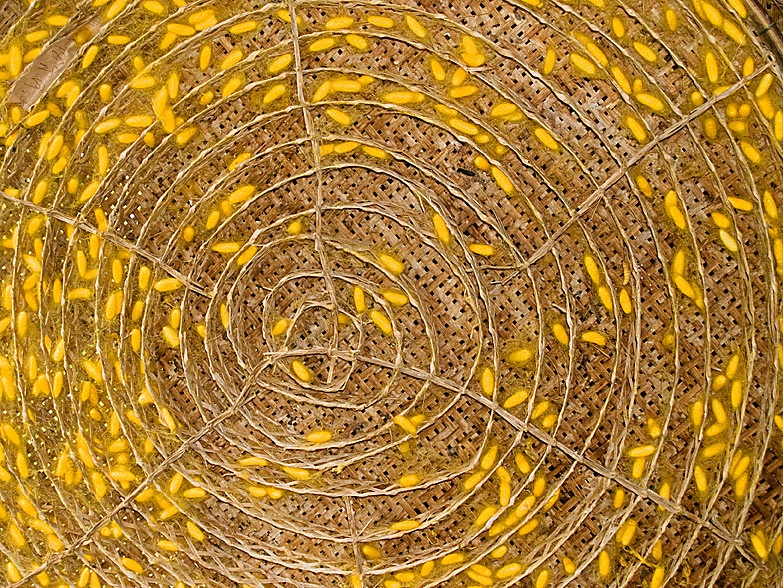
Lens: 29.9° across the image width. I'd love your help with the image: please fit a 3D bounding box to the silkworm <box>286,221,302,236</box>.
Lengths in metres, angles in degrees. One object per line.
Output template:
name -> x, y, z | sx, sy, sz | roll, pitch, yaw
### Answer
silkworm -> -0.289, -0.203, 4.446 | 0.051, 0.036, 0.035 | -23, 69, 14
